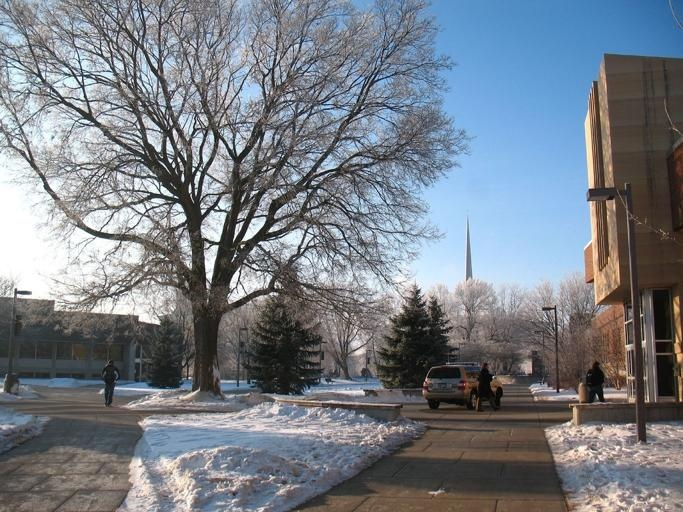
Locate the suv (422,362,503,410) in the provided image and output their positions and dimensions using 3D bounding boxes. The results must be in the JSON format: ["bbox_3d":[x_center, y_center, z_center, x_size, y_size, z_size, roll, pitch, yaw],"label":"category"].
[{"bbox_3d":[5.956,6.305,27.672,1.876,1.724,4.030,-5,-6,37],"label":"suv"}]

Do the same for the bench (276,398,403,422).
[{"bbox_3d":[0.049,5.696,20.909,4.628,0.615,1.560,-9,-14,34],"label":"bench"}]

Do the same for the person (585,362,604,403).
[{"bbox_3d":[10.533,5.353,23.579,0.600,1.961,0.579,-1,12,22],"label":"person"}]
